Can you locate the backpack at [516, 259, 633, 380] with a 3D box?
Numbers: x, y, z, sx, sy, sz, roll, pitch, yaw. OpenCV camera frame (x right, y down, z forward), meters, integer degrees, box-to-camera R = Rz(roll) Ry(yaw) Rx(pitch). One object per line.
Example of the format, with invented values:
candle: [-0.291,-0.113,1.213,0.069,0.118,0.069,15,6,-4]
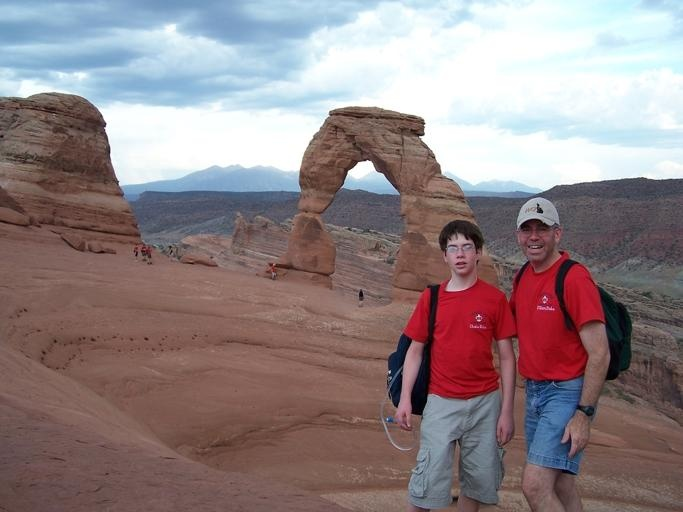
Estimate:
backpack: [1.923,0.479,3.716,0.694,0.889,0.458,0,7,-28]

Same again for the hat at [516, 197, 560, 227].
hat: [1.518,-0.333,3.893,0.252,0.153,0.337,-1,-11,29]
